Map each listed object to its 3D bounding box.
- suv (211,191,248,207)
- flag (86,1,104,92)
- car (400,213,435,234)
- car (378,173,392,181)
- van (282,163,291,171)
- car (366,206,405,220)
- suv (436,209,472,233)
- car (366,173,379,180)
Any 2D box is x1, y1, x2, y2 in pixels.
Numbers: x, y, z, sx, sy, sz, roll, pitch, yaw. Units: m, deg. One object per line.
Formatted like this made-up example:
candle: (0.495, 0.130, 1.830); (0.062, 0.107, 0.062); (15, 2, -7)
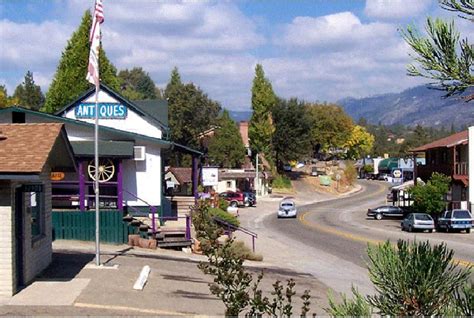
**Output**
suv: (-0.115, 4.351, 64.116); (1.388, 1.678, 3.840); (-7, -6, 36)
flag: (-6.424, -5.274, 27.080); (0.723, 3.877, 0.861); (-2, -5, -24)
car: (13.677, 4.858, 45.425); (1.275, 0.945, 2.166); (0, 1, -2)
car: (28.125, 3.463, 112.851); (2.860, 1.419, 1.670); (-4, -2, 36)
van: (9.336, 1.539, 109.275); (1.222, 0.999, 2.761); (0, -3, -1)
car: (14.190, 5.064, 56.384); (2.875, 0.914, 1.339); (-2, 2, -4)
suv: (16.292, 4.640, 44.948); (1.288, 1.117, 2.279); (0, 1, 0)
car: (27.629, 3.612, 121.937); (1.308, 1.217, 2.432); (2, 3, 10)
